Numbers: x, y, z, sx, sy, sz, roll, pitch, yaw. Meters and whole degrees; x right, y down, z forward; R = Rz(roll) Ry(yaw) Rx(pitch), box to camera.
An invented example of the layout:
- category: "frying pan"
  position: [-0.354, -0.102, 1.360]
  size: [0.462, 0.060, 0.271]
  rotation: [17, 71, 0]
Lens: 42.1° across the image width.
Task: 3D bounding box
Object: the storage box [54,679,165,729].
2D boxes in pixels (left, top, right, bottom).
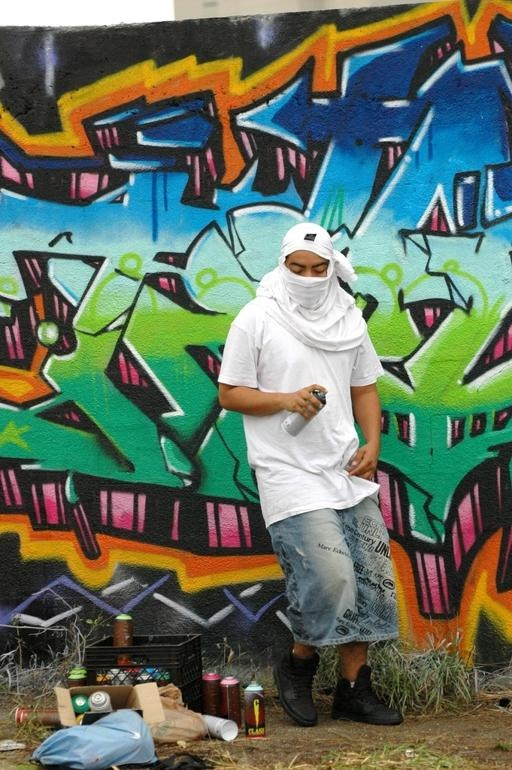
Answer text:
- category: "storage box"
  position: [-0.633, 1.385, 2.875]
  size: [0.506, 0.199, 0.218]
  rotation: [3, -12, 4]

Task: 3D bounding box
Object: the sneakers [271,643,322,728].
- category: "sneakers"
  position: [0.187, 1.436, 3.167]
  size: [0.236, 0.333, 0.169]
  rotation: [3, -13, 11]

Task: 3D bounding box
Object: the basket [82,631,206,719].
- category: "basket"
  position: [-0.512, 1.350, 3.350]
  size: [0.530, 0.269, 0.468]
  rotation: [-1, -3, 6]

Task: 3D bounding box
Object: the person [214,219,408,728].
- category: "person"
  position: [0.286, 0.400, 3.221]
  size: [0.547, 2.355, 0.886]
  rotation: [-7, -17, 43]

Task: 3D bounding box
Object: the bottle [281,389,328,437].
- category: "bottle"
  position: [0.213, 0.126, 2.971]
  size: [0.126, 0.191, 0.218]
  rotation: [9, -12, -16]

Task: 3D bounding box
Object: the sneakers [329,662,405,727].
- category: "sneakers"
  position: [0.500, 1.486, 3.242]
  size: [0.455, 0.261, 0.163]
  rotation: [-4, -8, 33]
